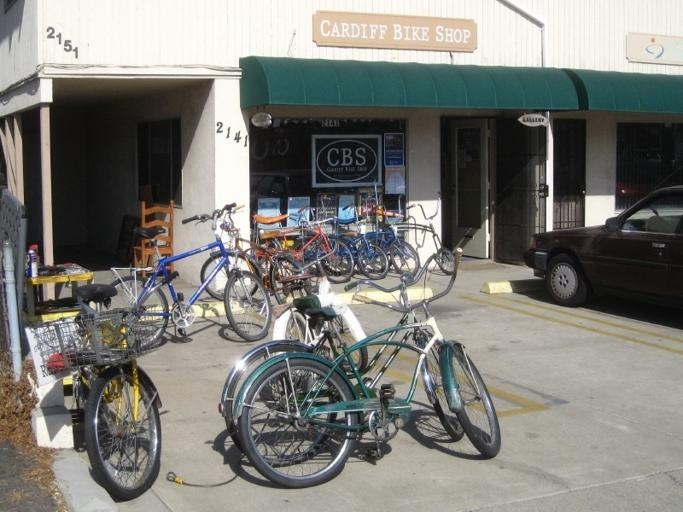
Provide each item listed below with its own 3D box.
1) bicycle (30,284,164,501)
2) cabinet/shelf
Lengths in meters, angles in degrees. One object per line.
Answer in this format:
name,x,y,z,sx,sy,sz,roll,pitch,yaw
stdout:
bicycle,-1.695,0.926,4.568,0.691,1.055,1.580,-8,9,-18
cabinet/shelf,-4.122,0.867,8.634,0.791,1.316,0.837,9,2,4
